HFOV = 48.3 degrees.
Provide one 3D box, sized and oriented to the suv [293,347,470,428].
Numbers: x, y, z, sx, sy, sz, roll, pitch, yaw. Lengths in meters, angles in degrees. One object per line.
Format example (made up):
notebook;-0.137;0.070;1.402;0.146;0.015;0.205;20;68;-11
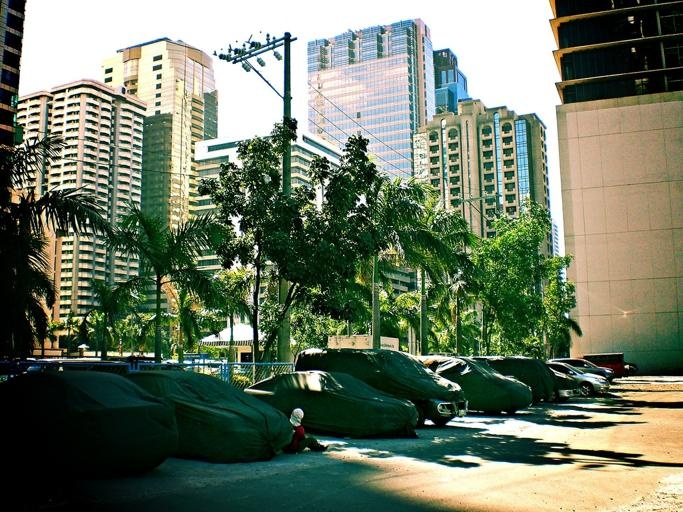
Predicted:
suv;1.284;3.841;21.854;4.103;1.812;2.206;-1;-10;23

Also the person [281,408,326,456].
person;-0.936;3.992;17.656;0.668;1.071;1.012;6;2;40
